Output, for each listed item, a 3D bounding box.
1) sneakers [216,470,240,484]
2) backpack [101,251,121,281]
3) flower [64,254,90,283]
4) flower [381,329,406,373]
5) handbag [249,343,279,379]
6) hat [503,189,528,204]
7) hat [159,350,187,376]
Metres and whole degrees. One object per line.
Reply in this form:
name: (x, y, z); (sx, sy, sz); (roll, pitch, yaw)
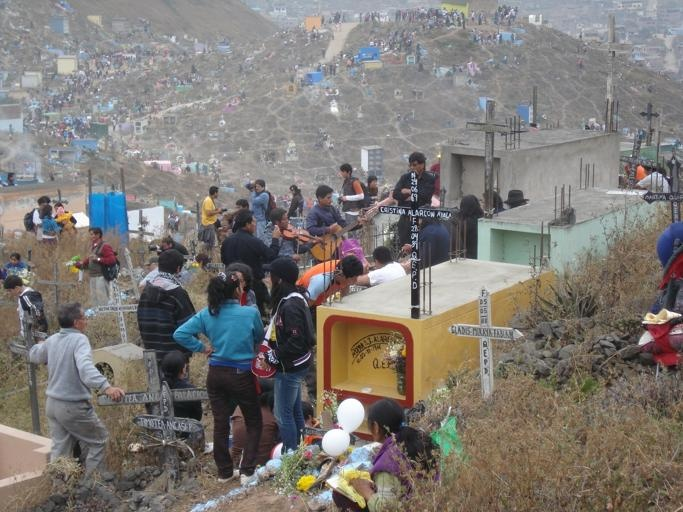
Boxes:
sneakers: (-1.836, 3.490, 17.051); (0.425, 0.216, 0.146); (1, -3, -32)
backpack: (-5.130, 0.206, 24.191); (0.369, 0.813, 0.538); (7, 4, 1)
flower: (-6.617, 0.329, 26.854); (0.567, 0.938, 0.525); (-8, -1, 43)
flower: (0.911, 1.548, 17.825); (0.341, 0.585, 0.540); (3, -19, 10)
handbag: (-1.191, 1.595, 16.800); (0.293, 0.572, 0.120); (2, 2, 14)
hat: (3.957, -1.348, 24.441); (0.353, 0.227, 0.387); (0, 2, 25)
hat: (-2.804, 1.701, 17.900); (0.304, 0.460, 0.423); (5, 24, -1)
